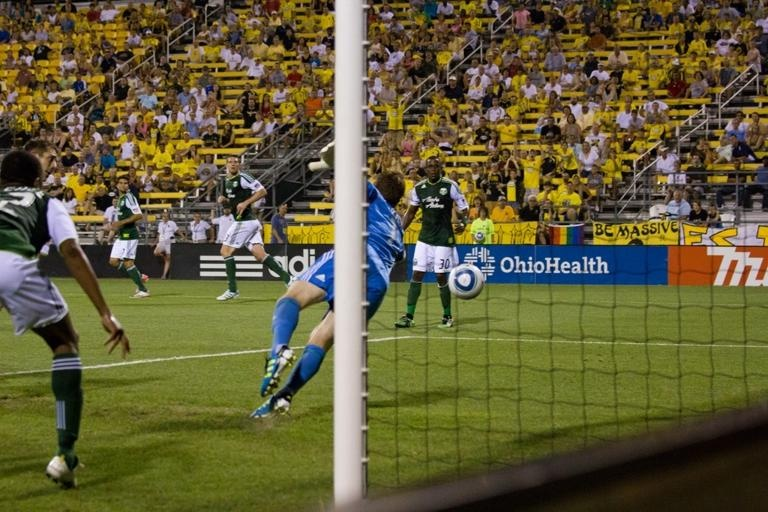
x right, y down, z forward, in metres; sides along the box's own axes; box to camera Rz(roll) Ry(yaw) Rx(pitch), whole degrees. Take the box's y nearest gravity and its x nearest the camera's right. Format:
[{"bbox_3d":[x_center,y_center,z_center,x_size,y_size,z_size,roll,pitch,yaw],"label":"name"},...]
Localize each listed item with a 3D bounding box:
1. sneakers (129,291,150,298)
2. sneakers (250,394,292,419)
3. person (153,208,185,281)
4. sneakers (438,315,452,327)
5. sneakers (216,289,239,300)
[{"bbox_3d":[-4.981,0.776,19.135,0.435,0.165,0.147,1,-1,0],"label":"sneakers"},{"bbox_3d":[-1.102,1.497,9.296,0.441,0.167,0.134,-24,-49,37],"label":"sneakers"},{"bbox_3d":[-5.657,-0.311,24.672,0.632,1.817,0.846,-5,10,-22],"label":"person"},{"bbox_3d":[0.935,0.994,14.116,0.191,0.229,0.518,-1,9,2],"label":"sneakers"},{"bbox_3d":[-3.069,0.775,18.440,0.482,0.184,0.155,-1,3,-27],"label":"sneakers"}]
